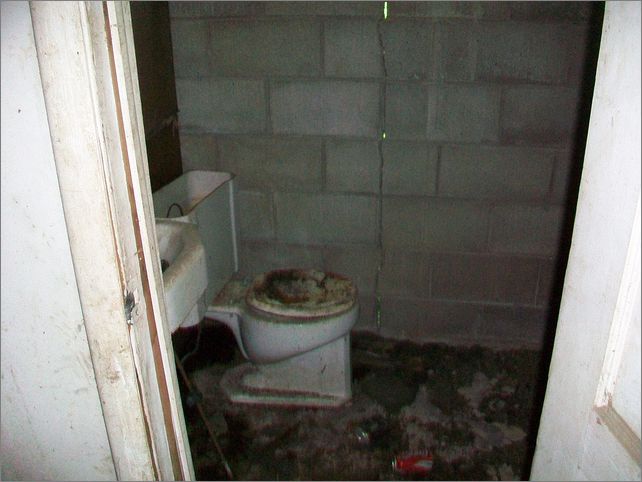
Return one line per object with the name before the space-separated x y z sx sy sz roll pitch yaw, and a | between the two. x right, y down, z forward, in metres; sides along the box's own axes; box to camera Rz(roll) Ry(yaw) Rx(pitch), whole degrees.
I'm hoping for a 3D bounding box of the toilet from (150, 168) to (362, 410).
toilet | -0.214 0.195 2.153 0.701 0.839 0.547 3 22 4
